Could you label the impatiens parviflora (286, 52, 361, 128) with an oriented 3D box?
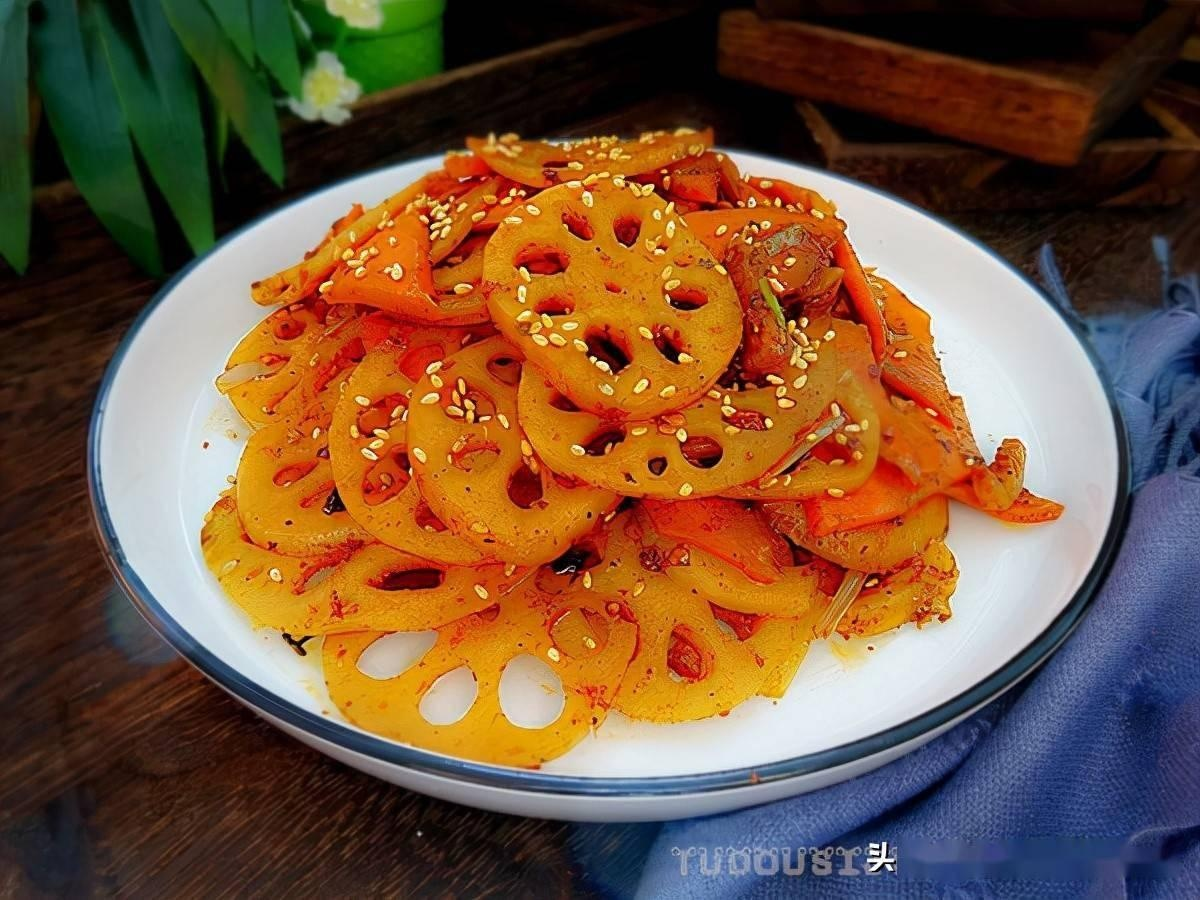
[{"bbox_3d":[-0.605,-0.779,2.680,0.153,0.165,0.120,-17,27,-33],"label":"impatiens parviflora"}]
